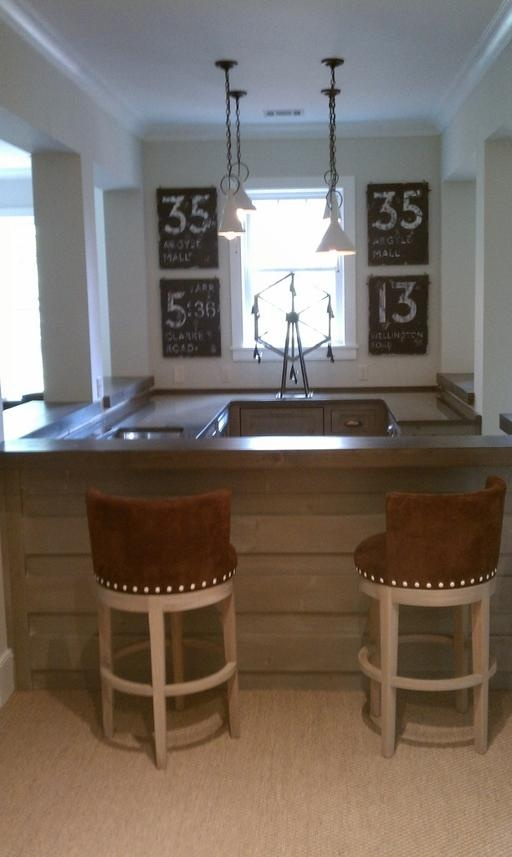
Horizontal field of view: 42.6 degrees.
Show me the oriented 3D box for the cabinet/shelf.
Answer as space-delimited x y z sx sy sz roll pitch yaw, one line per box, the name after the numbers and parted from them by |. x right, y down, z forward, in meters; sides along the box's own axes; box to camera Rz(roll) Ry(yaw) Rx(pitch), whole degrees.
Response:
0.351 -0.078 4.363 1.036 0.243 0.311 -1 2 18 | cabinet/shelf

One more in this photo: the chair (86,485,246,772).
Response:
-0.233 0.478 1.704 0.356 0.719 0.362 5 9 39 | chair

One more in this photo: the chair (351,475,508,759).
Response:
0.441 0.475 1.718 0.361 0.711 0.513 -1 2 8 | chair
